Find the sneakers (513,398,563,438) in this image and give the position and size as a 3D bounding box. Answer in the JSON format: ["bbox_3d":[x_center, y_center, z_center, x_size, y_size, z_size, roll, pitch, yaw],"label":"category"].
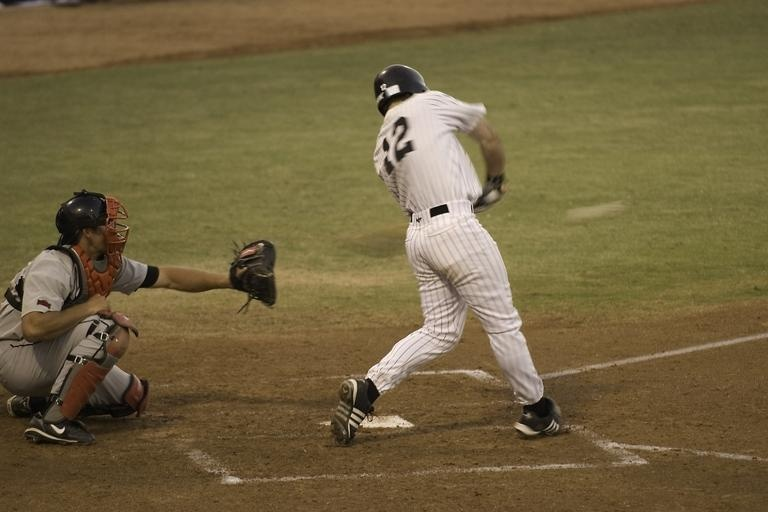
[{"bbox_3d":[1.420,1.465,12.739,0.239,0.201,0.545,2,8,35],"label":"sneakers"}]

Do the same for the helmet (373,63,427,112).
[{"bbox_3d":[0.134,-1.534,12.888,0.530,0.374,0.359,-29,3,-4],"label":"helmet"}]

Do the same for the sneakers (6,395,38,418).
[{"bbox_3d":[-3.312,1.388,13.087,0.406,0.109,0.180,-1,-11,-40],"label":"sneakers"}]

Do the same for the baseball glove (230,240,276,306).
[{"bbox_3d":[-1.202,0.135,13.140,0.462,0.590,0.293,1,17,2],"label":"baseball glove"}]
